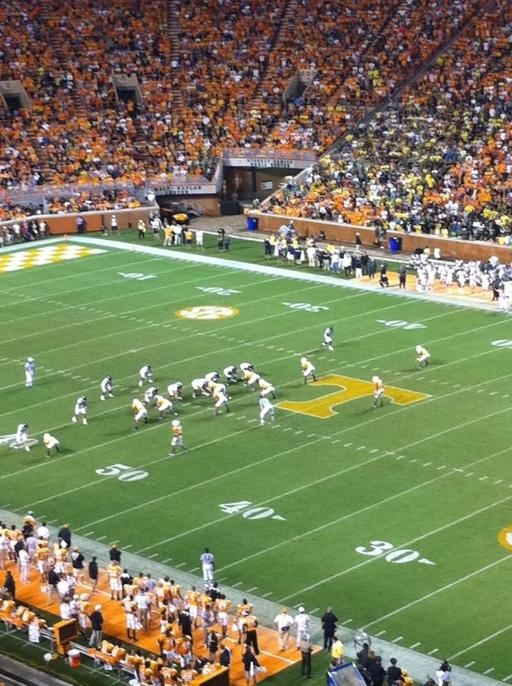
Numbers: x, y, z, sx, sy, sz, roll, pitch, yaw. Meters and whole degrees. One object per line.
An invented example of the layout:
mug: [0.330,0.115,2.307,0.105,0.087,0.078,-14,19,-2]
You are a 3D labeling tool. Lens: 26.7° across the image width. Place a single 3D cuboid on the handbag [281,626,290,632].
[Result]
handbag: [0.479,5.118,19.186,0.157,0.084,0.154,-2,-4,39]
